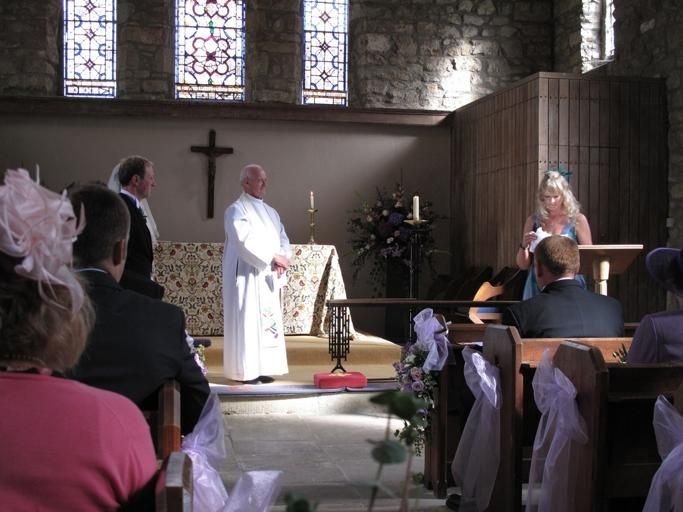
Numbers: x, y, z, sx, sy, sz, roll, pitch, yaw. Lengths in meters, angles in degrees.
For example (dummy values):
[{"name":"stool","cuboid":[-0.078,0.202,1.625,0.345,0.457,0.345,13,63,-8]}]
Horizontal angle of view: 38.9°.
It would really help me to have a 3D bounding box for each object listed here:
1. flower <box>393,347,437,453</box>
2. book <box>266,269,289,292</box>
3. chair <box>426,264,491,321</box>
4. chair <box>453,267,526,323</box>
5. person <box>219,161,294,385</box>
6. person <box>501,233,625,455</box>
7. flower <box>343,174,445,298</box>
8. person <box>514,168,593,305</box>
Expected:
[{"name":"flower","cuboid":[0.405,0.836,5.369,0.332,0.569,0.287,5,17,7]},{"name":"book","cuboid":[-0.528,0.197,7.577,0.037,0.148,0.149,5,13,43]},{"name":"chair","cuboid":[1.133,0.303,9.157,0.485,0.609,0.448,19,-1,-16]},{"name":"chair","cuboid":[1.259,0.317,8.106,0.542,0.711,0.452,2,-4,-4]},{"name":"person","cuboid":[-0.678,0.112,7.521,0.525,1.544,0.722,-2,12,-3]},{"name":"person","cuboid":[1.226,0.417,5.312,0.642,0.999,0.512,-4,2,-14]},{"name":"flower","cuboid":[0.687,-0.198,9.656,0.954,1.391,1.223,-2,4,-36]},{"name":"person","cuboid":[1.567,0.168,7.230,0.506,1.543,0.532,6,14,30]}]
